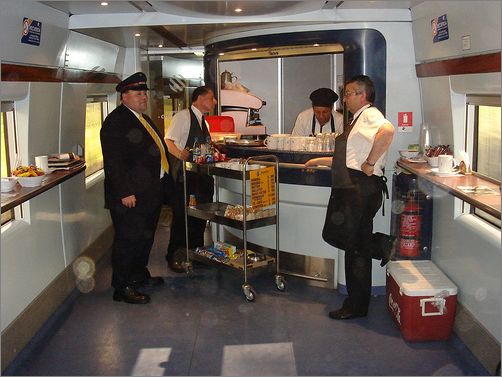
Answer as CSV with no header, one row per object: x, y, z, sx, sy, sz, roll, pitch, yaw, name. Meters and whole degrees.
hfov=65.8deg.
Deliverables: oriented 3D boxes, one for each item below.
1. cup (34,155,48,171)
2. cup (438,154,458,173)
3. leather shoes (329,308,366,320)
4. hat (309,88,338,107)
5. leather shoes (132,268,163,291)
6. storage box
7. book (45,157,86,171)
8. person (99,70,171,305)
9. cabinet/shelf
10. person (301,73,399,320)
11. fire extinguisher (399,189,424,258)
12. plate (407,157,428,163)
-2.137,-0.255,3.922,0.093,0.156,0.158,10,23,5,cup
1.758,-0.213,3.479,0.122,0.161,0.083,3,13,18,cup
1.011,1.293,4.021,0.372,0.149,0.138,3,3,-1,leather shoes
0.971,-1.210,5.143,0.256,0.176,0.292,2,18,7,hat
-1.256,1.106,4.707,0.457,0.204,0.154,-2,7,-12,leather shoes
1.665,1.105,3.863,0.485,0.535,0.789,1,9,7,storage box
-2.043,-0.271,4.327,0.237,0.121,0.518,6,15,28,book
-1.273,-0.003,4.325,0.749,2.501,0.543,-11,16,-39,person
-0.179,0.434,4.655,0.632,1.598,1.508,-8,13,-36,cabinet/shelf
1.089,0.113,3.875,0.704,2.412,0.488,1,13,10,person
1.696,0.382,4.036,0.246,0.728,0.113,-4,13,-13,fire extinguisher
1.758,-0.305,4.099,0.190,0.031,0.279,3,14,17,plate
